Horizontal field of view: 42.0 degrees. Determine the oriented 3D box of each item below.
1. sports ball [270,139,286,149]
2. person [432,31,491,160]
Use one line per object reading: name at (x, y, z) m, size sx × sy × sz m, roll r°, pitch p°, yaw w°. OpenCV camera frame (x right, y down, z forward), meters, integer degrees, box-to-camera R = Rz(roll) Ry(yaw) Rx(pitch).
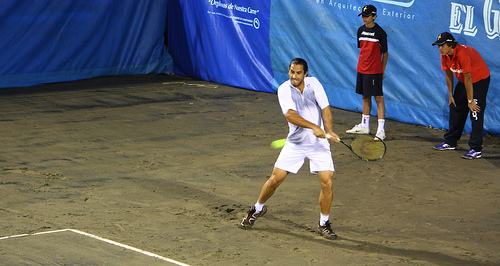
sports ball at (0.657, 0.263, 15.225) m, size 0.405 × 0.121 × 0.170 m, roll -5°, pitch -9°, yaw 36°
person at (5.482, -0.969, 16.882) m, size 1.498 × 3.204 × 0.868 m, roll 7°, pitch 14°, yaw 14°
